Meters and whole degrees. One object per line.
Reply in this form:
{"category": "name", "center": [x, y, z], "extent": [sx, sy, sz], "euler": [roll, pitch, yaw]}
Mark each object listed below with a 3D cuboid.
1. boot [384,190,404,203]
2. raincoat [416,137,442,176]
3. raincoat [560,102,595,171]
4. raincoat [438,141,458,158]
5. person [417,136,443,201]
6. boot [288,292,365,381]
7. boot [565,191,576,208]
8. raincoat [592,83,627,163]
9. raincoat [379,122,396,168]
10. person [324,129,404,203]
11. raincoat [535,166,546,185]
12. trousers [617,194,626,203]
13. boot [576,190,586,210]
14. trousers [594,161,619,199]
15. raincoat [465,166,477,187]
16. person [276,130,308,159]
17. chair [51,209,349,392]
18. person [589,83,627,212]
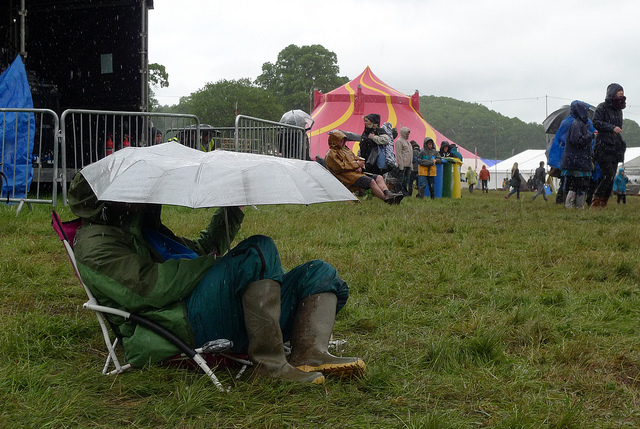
{"category": "boot", "center": [1.529, -0.351, 14.292], "extent": [0.414, 0.235, 0.363], "euler": [6, 7, 20]}
{"category": "raincoat", "center": [2.885, -1.511, 17.936], "extent": [0.604, 0.990, 0.739], "euler": [4, 7, 8]}
{"category": "raincoat", "center": [5.234, -1.467, 13.968], "extent": [0.741, 1.652, 0.468], "euler": [-1, 3, -28]}
{"category": "raincoat", "center": [3.755, -1.887, 19.955], "extent": [0.490, 0.243, 0.508], "euler": [0, -9, -19]}
{"category": "person", "center": [2.840, -1.235, 17.802], "extent": [0.579, 1.514, 1.200], "euler": [5, 7, 10]}
{"category": "boot", "center": [-0.021, 0.978, 5.383], "extent": [0.741, 0.848, 0.470], "euler": [-2, -19, 2]}
{"category": "boot", "center": [5.177, -0.302, 13.928], "extent": [0.183, 0.336, 0.350], "euler": [6, 7, 22]}
{"category": "raincoat", "center": [5.776, -1.797, 13.452], "extent": [0.648, 1.573, 0.784], "euler": [6, 7, 23]}
{"category": "raincoat", "center": [1.587, -1.616, 15.833], "extent": [0.375, 1.007, 1.124], "euler": [4, 7, 5]}
{"category": "person", "center": [0.989, -1.054, 14.479], "extent": [1.860, 1.153, 0.797], "euler": [24, 31, 31]}
{"category": "raincoat", "center": [7.907, -1.365, 24.128], "extent": [0.287, 0.655, 0.652], "euler": [5, 7, 13]}
{"category": "trousers", "center": [9.378, -0.475, 20.972], "extent": [0.320, 0.314, 0.118], "euler": [1, -5, -17]}
{"category": "boot", "center": [5.395, -0.319, 13.977], "extent": [0.155, 0.358, 0.353], "euler": [6, 7, 21]}
{"category": "trousers", "center": [5.816, -0.700, 13.728], "extent": [0.367, 0.766, 0.757], "euler": [6, 7, 22]}
{"category": "raincoat", "center": [7.517, -1.838, 33.505], "extent": [0.447, 0.936, 1.477], "euler": [5, 7, 11]}
{"category": "person", "center": [-0.595, -1.429, 14.114], "extent": [0.855, 0.762, 0.884], "euler": [0, 4, 4]}
{"category": "chair", "center": [-1.056, 0.692, 5.635], "extent": [1.504, 1.579, 1.734], "euler": [2, 3, 35]}
{"category": "person", "center": [5.756, -1.330, 13.506], "extent": [0.647, 2.513, 0.941], "euler": [6, 7, 23]}
